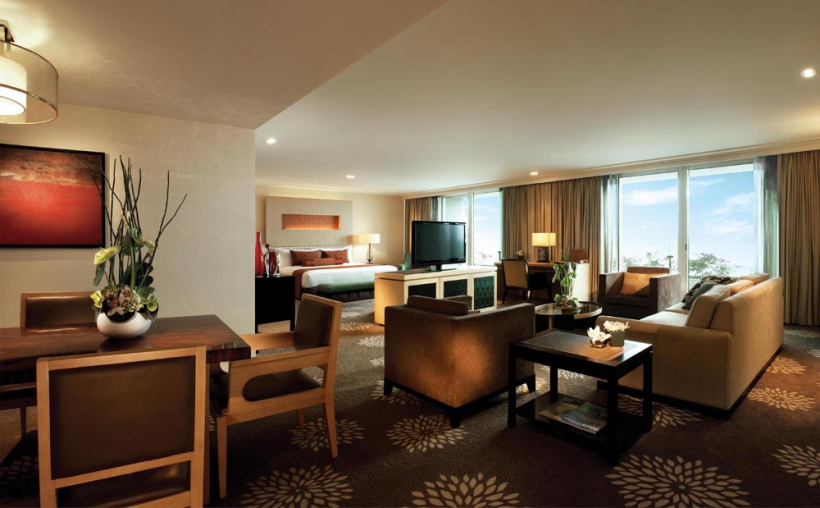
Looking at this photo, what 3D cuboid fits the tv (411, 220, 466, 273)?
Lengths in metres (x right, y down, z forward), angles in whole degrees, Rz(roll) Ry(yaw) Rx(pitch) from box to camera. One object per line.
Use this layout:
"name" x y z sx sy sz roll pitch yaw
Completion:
"tv" 0.419 -0.113 7.394 0.117 0.715 1.205 1 2 45

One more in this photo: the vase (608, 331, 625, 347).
"vase" 1.734 0.705 4.215 0.165 0.151 0.116 2 6 19

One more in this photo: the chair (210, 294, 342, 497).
"chair" -1.156 1.005 4.083 1.117 1.087 1.036 -2 4 -15

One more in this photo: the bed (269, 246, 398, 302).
"bed" -1.586 0.401 9.314 1.535 0.876 1.432 0 -1 -39

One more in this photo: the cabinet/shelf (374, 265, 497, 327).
"cabinet/shelf" 0.456 0.556 7.392 2.102 0.697 0.618 -3 3 -44

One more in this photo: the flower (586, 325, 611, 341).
"flower" 1.607 0.665 4.195 0.115 0.061 0.123 0 -1 45

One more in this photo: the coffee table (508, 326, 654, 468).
"coffee table" 1.470 1.150 4.304 0.899 0.688 1.041 -3 4 -38

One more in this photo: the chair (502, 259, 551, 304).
"chair" 2.056 0.481 8.780 0.882 0.761 0.762 1 0 -22

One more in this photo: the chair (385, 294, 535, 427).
"chair" 0.602 0.886 4.802 1.113 1.029 1.227 0 2 41

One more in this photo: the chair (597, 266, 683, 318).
"chair" 3.327 0.568 7.210 1.137 0.735 1.152 1 1 11

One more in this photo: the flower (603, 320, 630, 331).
"flower" 1.737 0.609 4.247 0.183 0.069 0.195 0 4 13

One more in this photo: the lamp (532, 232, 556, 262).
"lamp" 2.557 -0.128 9.415 0.430 0.550 0.533 -1 4 17

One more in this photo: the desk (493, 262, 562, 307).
"desk" 2.019 0.504 8.983 0.955 0.943 0.709 -3 3 -43

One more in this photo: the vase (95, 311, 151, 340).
"vase" -2.042 0.518 3.575 0.243 0.125 0.241 1 -1 17
